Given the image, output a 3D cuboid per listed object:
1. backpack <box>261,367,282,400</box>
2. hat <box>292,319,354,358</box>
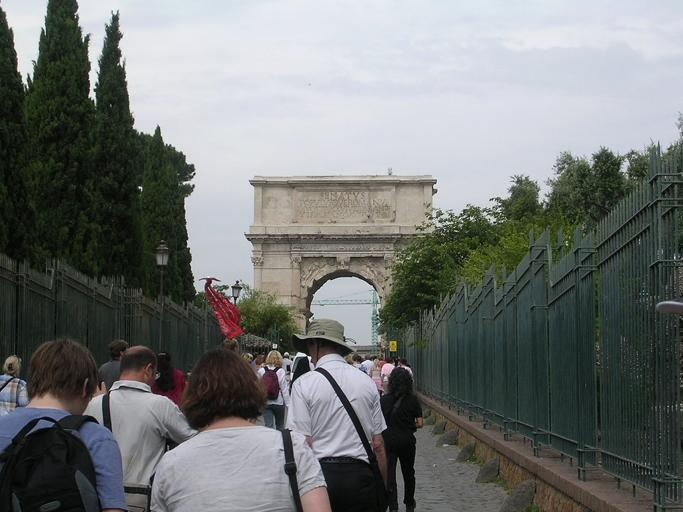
[{"bbox_3d":[-1.209,2.138,18.200,0.345,0.609,0.558,4,-18,10],"label":"backpack"},{"bbox_3d":[-0.157,0.779,10.078,0.627,0.375,0.635,7,-7,0],"label":"hat"}]
